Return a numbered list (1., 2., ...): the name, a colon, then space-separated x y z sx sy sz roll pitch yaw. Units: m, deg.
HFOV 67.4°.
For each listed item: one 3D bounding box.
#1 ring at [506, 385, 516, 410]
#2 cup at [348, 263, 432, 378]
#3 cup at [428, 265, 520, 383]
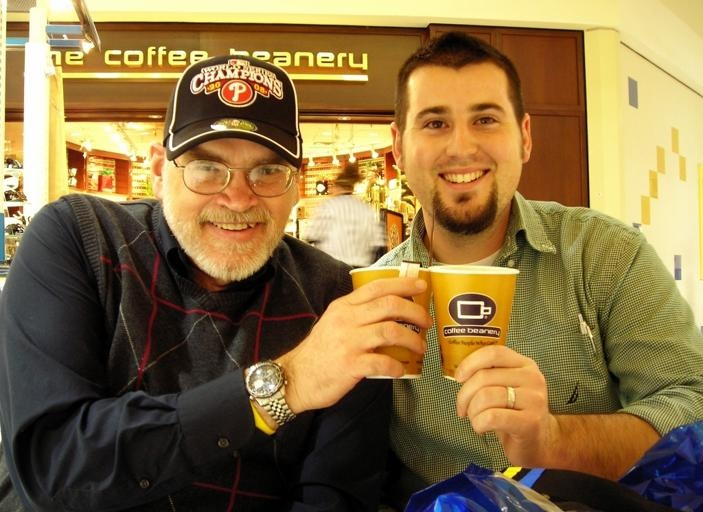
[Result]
1. ring: 0.395 0.355 1.311 0.023 0.055 0.007 -1 2 -2
2. cup: 0.132 0.172 1.375 0.276 0.285 0.280 1 -9 0
3. cup: 0.270 0.170 1.426 0.288 0.303 0.283 1 -3 0
